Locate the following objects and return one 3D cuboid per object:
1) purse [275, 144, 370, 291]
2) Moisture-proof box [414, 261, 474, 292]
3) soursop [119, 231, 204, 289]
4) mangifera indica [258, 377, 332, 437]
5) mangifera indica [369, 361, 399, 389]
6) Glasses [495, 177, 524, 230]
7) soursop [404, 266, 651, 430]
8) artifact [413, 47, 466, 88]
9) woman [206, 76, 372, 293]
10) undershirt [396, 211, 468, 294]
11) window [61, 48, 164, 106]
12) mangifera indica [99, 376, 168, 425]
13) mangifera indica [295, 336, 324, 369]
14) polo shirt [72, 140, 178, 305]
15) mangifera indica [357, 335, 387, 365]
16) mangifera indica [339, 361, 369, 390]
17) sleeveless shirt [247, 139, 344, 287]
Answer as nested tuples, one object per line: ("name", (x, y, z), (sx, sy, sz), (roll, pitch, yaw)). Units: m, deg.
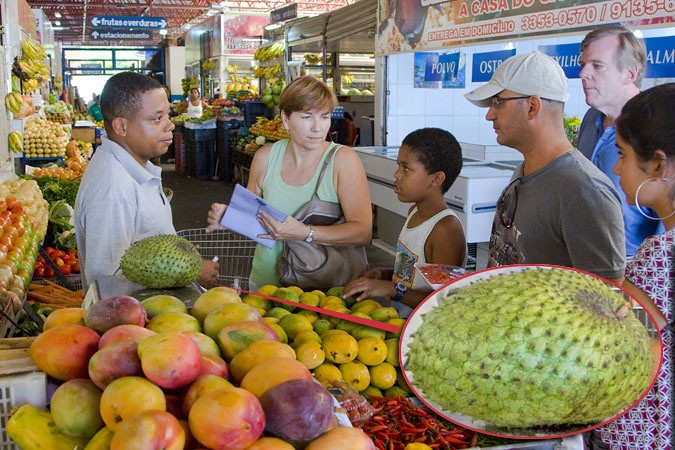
("purse", (-0.113, -0.029, 2.944), (0.503, 0.879, 0.618), (2, 3, -17))
("Moisture-proof box", (0.326, 0.156, 1.404), (0.106, 0.025, 0.085), (-8, 22, -25))
("soursop", (-0.771, 0.157, 1.992), (0.281, 0.193, 0.224), (-3, 22, -4))
("mangifera indica", (-0.095, 0.419, 1.090), (0.147, 0.115, 0.110), (5, 4, 1))
("mangifera indica", (0.154, 0.489, 1.507), (0.083, 0.065, 0.064), (10, 54, 33))
("Glasses", (0.858, -0.093, 2.202), (0.077, 0.261, 0.337), (16, 10, 29))
("soursop", (0.479, 0.273, 1.236), (0.522, 0.343, 0.359), (-7, 16, 3))
("artifact", (1.410, -2.119, 6.129), (0.567, 0.384, 0.575), (1, 13, 4))
("woman", (-0.335, 0.092, 2.922), (1.013, 1.925, 0.837), (3, 20, -4))
("undershirt", (0.492, 0.118, 2.478), (0.338, 0.470, 0.319), (15, 19, 29))
("window", (-15.032, -9.843, 30.597), (6.833, 4.253, 0.187), (-17, 32, -40))
("mangifera indica", (-0.485, 0.403, 1.085), (0.123, 0.125, 0.122), (-15, 53, -17))
("mangifera indica", (-0.096, 0.402, 1.486), (0.097, 0.087, 0.075), (22, 7, -13))
("polo shirt", (-1.263, -0.069, 2.705), (0.538, 0.872, 0.997), (-2, 20, -15))
("mangifera indica", (0.114, 0.411, 1.528), (0.085, 0.077, 0.098), (14, -6, 21))
("mangifera indica", (0.063, 0.490, 1.490), (0.093, 0.068, 0.073), (33, 44, -21))
("sleeveless shirt", (-0.180, -0.117, 2.817), (0.400, 0.874, 0.325), (0, -24, -2))
